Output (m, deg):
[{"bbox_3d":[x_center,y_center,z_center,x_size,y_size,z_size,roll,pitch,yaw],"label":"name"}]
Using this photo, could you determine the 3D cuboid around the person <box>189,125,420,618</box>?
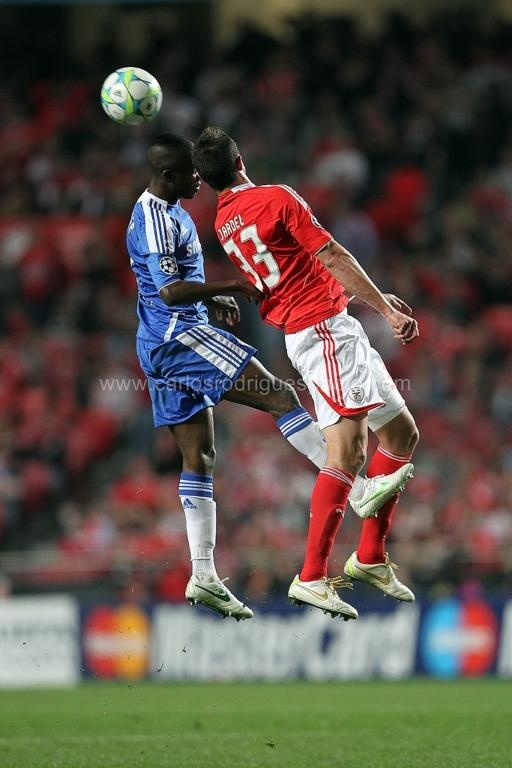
[{"bbox_3d":[0.330,-0.070,4.642,0.716,2.176,0.954,-10,19,-33],"label":"person"}]

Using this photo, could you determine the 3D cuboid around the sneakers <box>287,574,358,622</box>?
[{"bbox_3d":[0.300,0.996,4.525,0.304,0.238,0.171,2,15,3],"label":"sneakers"}]
